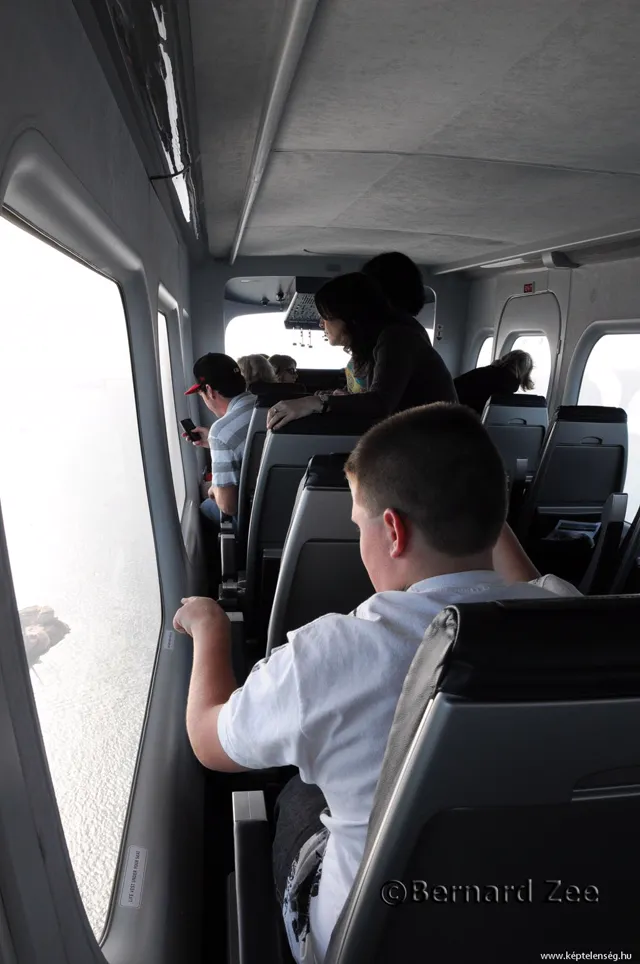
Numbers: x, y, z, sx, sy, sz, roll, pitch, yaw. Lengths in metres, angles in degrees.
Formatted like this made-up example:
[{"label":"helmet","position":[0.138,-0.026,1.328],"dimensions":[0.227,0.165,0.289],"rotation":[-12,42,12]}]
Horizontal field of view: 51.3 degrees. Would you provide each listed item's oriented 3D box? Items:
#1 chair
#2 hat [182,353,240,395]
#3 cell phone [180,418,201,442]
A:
[{"label":"chair","position":[0.080,0.332,0.992],"dimensions":[0.457,0.869,0.421],"rotation":[9,16,23]},{"label":"hat","position":[-0.643,-0.670,4.037],"dimensions":[0.193,0.176,0.299],"rotation":[-20,34,-41]},{"label":"cell phone","position":[-0.782,-0.328,4.002],"dimensions":[0.095,0.180,0.041],"rotation":[-33,53,-17]}]
